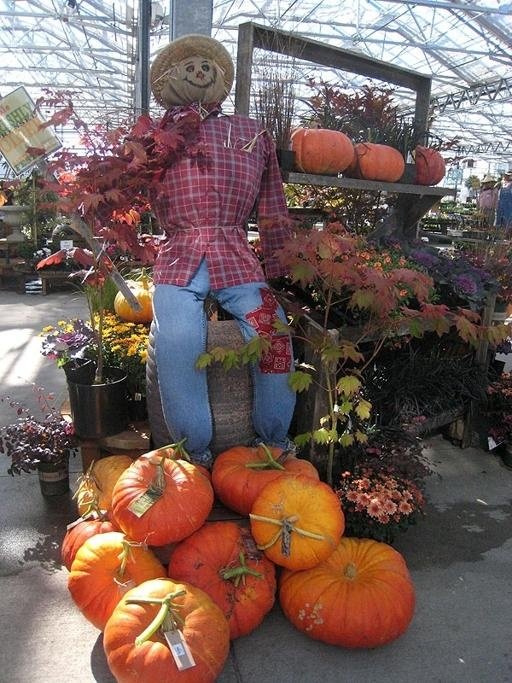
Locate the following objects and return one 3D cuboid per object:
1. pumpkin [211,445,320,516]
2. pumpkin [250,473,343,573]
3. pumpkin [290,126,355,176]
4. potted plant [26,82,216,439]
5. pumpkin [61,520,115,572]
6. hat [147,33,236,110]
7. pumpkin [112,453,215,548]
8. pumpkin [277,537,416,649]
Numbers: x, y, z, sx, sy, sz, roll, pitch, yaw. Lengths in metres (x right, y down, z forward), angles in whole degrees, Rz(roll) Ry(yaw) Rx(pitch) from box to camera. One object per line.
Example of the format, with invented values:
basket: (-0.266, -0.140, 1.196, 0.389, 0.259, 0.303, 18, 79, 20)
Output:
pumpkin: (0.040, 0.420, 1.701, 0.283, 0.234, 0.274, -4, 18, -38)
pumpkin: (0.105, 0.535, 1.456, 0.250, 0.223, 0.236, 0, 47, 8)
pumpkin: (0.357, -0.985, 2.576, 0.342, 0.236, 0.304, -1, 26, 2)
potted plant: (-0.518, -0.346, 1.985, 0.867, 0.905, 0.529, 1, 4, -12)
pumpkin: (-0.504, 0.595, 1.550, 0.166, 0.140, 0.156, -3, 10, -12)
hat: (-0.249, -1.018, 1.984, 0.331, 0.215, 0.307, -6, -4, -1)
pumpkin: (-0.238, 0.450, 1.506, 0.317, 0.269, 0.303, 2, 30, -4)
pumpkin: (0.281, 0.714, 1.464, 0.343, 0.144, 0.308, -11, 28, -15)
